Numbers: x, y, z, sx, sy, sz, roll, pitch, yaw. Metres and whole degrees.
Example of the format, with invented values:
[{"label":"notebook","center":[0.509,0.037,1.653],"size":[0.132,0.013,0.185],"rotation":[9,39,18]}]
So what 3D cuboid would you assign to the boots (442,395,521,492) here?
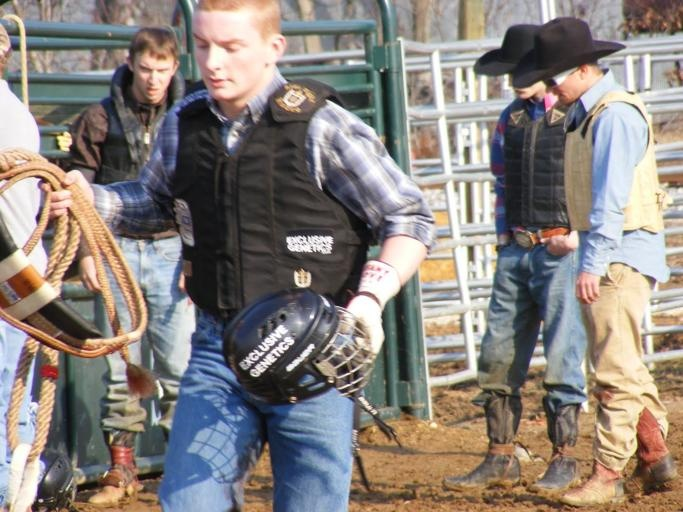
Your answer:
[{"label":"boots","center":[0.977,1.280,11.927],"size":[0.536,0.621,0.313],"rotation":[1,12,2]}]

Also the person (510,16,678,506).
[{"label":"person","center":[1.783,0.003,11.648],"size":[0.806,3.179,0.965],"rotation":[-5,13,-23]}]

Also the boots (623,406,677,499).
[{"label":"boots","center":[2.122,1.352,11.672],"size":[0.271,0.577,0.588],"rotation":[-19,-7,-12]}]

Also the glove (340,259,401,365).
[{"label":"glove","center":[0.167,0.294,9.761],"size":[0.314,0.505,0.203],"rotation":[7,2,18]}]

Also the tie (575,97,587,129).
[{"label":"tie","center":[1.607,-0.968,11.633],"size":[0.080,0.154,0.114],"rotation":[13,11,16]}]

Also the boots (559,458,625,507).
[{"label":"boots","center":[1.718,1.547,11.641],"size":[0.526,0.360,0.202],"rotation":[1,-5,-15]}]

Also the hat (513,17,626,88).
[{"label":"hat","center":[1.515,-1.411,11.638],"size":[0.642,0.257,0.487],"rotation":[-24,14,-7]}]

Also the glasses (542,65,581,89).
[{"label":"glasses","center":[1.473,-1.215,11.576],"size":[0.170,0.049,0.129],"rotation":[-35,6,-17]}]

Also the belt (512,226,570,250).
[{"label":"belt","center":[1.383,-0.155,11.921],"size":[0.204,0.089,0.206],"rotation":[-9,-2,-28]}]
